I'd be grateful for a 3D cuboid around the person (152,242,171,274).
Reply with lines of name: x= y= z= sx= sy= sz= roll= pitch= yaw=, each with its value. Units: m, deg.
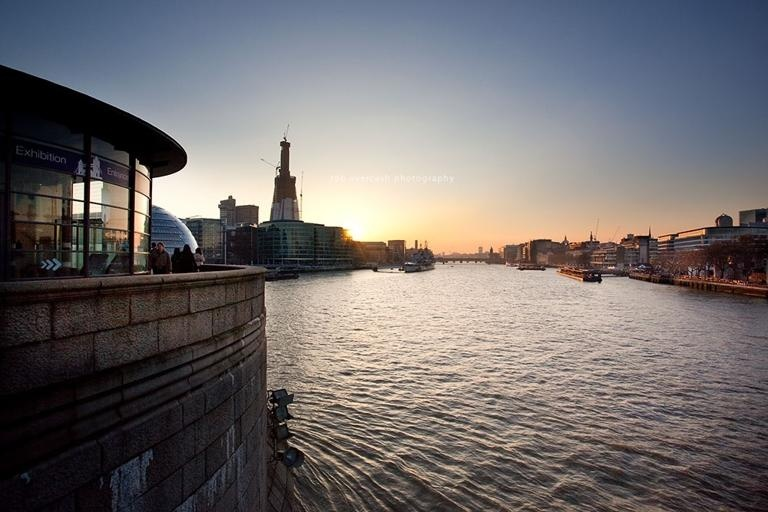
person: x=-7.865 y=0.089 z=18.879 sx=0.633 sy=1.107 sz=1.719 roll=-3 pitch=10 yaw=-23
